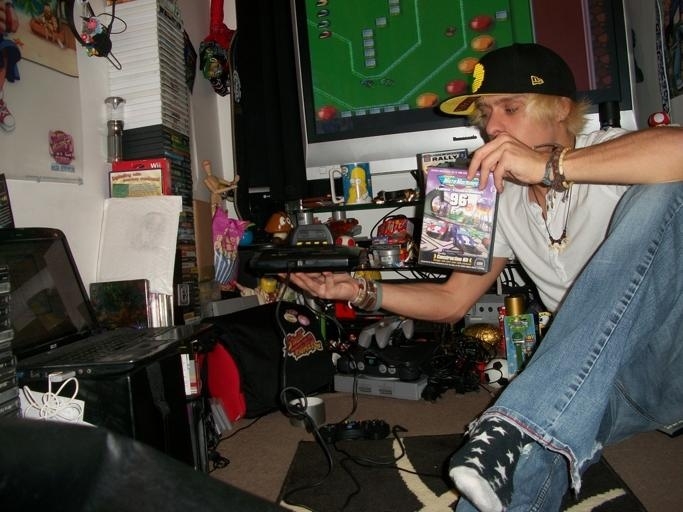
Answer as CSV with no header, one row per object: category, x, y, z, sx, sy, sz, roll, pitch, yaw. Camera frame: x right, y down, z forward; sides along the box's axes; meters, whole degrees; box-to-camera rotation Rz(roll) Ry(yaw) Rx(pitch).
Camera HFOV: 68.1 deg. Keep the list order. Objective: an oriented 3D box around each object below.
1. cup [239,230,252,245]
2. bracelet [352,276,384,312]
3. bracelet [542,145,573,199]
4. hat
cup,-0.426,-0.080,2.272,0.063,0.068,0.036,-11,10,-39
bracelet,0.065,0.112,1.446,0.047,0.086,0.084,-22,15,42
bracelet,0.462,-0.190,1.115,0.038,0.086,0.076,8,19,39
hat,0.439,-0.446,1.405,0.388,0.152,0.252,3,11,4
